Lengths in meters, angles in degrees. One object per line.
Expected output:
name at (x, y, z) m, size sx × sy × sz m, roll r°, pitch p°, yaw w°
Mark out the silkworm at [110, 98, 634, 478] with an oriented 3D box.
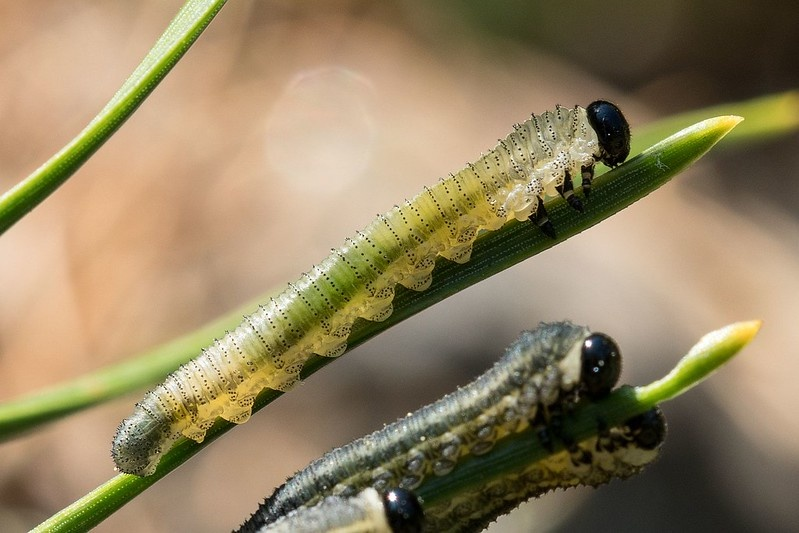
silkworm at (0.090, 0.013, 3.413) m, size 1.704 × 1.214 × 1.886 m, roll 5°, pitch 95°, yaw 40°
